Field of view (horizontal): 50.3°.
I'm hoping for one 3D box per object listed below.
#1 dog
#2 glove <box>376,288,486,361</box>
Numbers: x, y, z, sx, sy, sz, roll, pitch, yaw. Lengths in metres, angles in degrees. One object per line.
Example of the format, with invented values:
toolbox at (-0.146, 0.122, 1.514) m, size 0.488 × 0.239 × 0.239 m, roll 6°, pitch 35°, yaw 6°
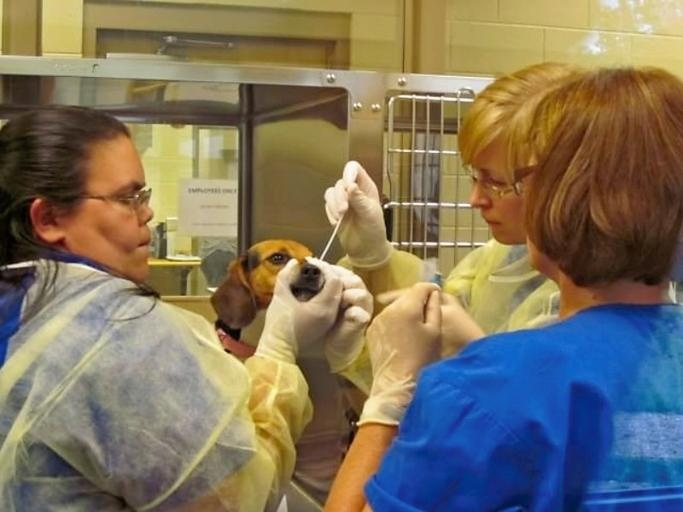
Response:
dog at (-0.193, 0.111, 1.907) m, size 0.281 × 0.291 × 0.481 m, roll -1°, pitch -9°, yaw -34°
glove at (0.176, 0.124, 1.472) m, size 0.236 × 0.149 × 0.138 m, roll 13°, pitch -4°, yaw -10°
